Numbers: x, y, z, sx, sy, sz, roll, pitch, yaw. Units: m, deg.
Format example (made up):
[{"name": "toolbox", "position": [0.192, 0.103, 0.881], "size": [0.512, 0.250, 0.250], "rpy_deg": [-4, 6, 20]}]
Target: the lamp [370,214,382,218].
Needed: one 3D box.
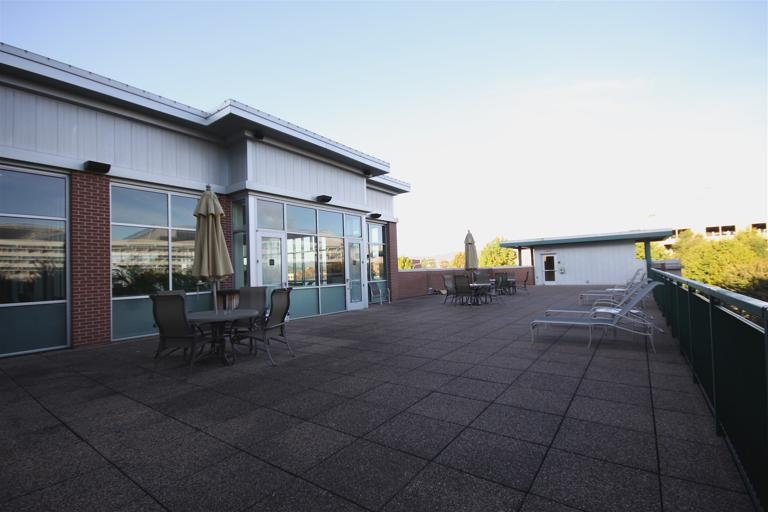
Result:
[{"name": "lamp", "position": [-0.336, -1.641, 18.444], "size": [0.353, 0.204, 0.603], "rpy_deg": [-1, 3, 7]}]

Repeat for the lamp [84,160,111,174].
[{"name": "lamp", "position": [-6.667, -2.090, 10.593], "size": [0.529, 0.302, 0.276], "rpy_deg": [-3, 3, -27]}]

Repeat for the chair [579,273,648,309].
[{"name": "chair", "position": [8.420, 1.265, 16.687], "size": [2.541, 1.152, 1.219], "rpy_deg": [-3, -1, 19]}]

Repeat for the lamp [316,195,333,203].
[{"name": "lamp", "position": [-1.894, -1.816, 14.390], "size": [0.344, 0.127, 0.263], "rpy_deg": [0, -1, 42]}]

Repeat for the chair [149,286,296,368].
[{"name": "chair", "position": [-3.379, 1.404, 9.303], "size": [2.351, 1.432, 2.454], "rpy_deg": [-4, 4, -40]}]
